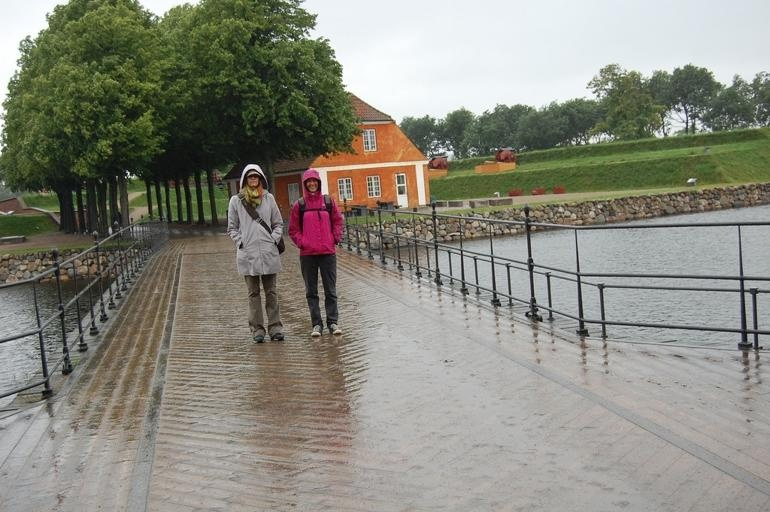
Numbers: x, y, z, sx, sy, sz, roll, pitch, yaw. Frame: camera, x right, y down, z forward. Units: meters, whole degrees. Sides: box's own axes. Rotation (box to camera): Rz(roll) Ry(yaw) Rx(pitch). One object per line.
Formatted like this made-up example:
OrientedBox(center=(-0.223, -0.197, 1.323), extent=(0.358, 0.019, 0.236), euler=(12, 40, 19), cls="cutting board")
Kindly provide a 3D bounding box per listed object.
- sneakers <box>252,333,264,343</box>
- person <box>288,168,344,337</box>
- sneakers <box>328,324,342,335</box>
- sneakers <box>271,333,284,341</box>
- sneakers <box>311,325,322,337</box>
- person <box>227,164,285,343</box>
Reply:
OrientedBox(center=(-1.936, 1.251, 8.772), extent=(0.158, 0.116, 0.251), euler=(1, 2, -11), cls="sneakers")
OrientedBox(center=(-1.052, -0.073, 9.055), extent=(0.796, 2.570, 1.016), euler=(-5, 11, -4), cls="person")
OrientedBox(center=(-0.778, 1.149, 9.003), extent=(0.102, 0.100, 0.252), euler=(-3, 0, -25), cls="sneakers")
OrientedBox(center=(-1.636, 1.232, 8.755), extent=(0.172, 0.149, 0.094), euler=(-2, 2, 9), cls="sneakers")
OrientedBox(center=(-1.047, 1.149, 8.856), extent=(0.151, 0.158, 0.395), euler=(0, -7, -1), cls="sneakers")
OrientedBox(center=(-1.943, -0.045, 8.848), extent=(0.838, 2.705, 0.823), euler=(-7, 11, -11), cls="person")
